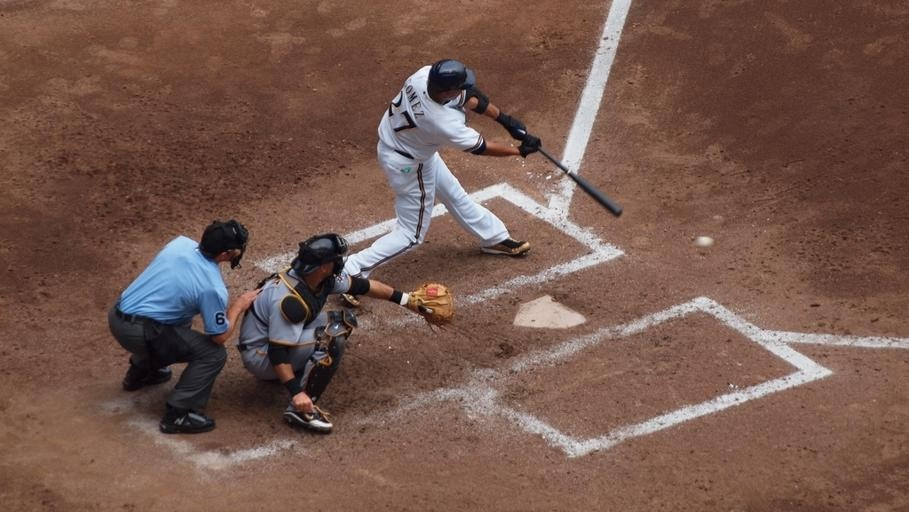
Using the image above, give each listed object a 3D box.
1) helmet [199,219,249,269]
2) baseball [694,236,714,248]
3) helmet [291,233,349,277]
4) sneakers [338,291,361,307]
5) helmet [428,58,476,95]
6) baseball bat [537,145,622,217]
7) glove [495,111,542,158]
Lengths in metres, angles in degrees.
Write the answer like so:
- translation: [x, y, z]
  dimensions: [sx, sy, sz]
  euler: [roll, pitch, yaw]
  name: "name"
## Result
- translation: [-2.758, -0.178, 10.846]
  dimensions: [0.468, 0.283, 0.520]
  euler: [21, 75, 2]
  name: "helmet"
- translation: [3.514, -0.198, 12.770]
  dimensions: [0.267, 0.087, 0.180]
  euler: [5, 75, -2]
  name: "baseball"
- translation: [-1.613, 0.067, 10.915]
  dimensions: [0.659, 0.491, 0.443]
  euler: [-25, 54, -15]
  name: "helmet"
- translation: [-1.417, 0.604, 12.240]
  dimensions: [0.323, 0.127, 0.138]
  euler: [23, 56, 16]
  name: "sneakers"
- translation: [-0.004, -2.276, 11.587]
  dimensions: [0.414, 0.253, 0.531]
  euler: [-9, 35, -20]
  name: "helmet"
- translation: [1.855, -1.054, 13.394]
  dimensions: [1.696, 0.180, 0.183]
  euler: [40, 97, 14]
  name: "baseball bat"
- translation: [0.870, -1.609, 12.208]
  dimensions: [0.429, 0.287, 0.738]
  euler: [-41, 83, -9]
  name: "glove"
